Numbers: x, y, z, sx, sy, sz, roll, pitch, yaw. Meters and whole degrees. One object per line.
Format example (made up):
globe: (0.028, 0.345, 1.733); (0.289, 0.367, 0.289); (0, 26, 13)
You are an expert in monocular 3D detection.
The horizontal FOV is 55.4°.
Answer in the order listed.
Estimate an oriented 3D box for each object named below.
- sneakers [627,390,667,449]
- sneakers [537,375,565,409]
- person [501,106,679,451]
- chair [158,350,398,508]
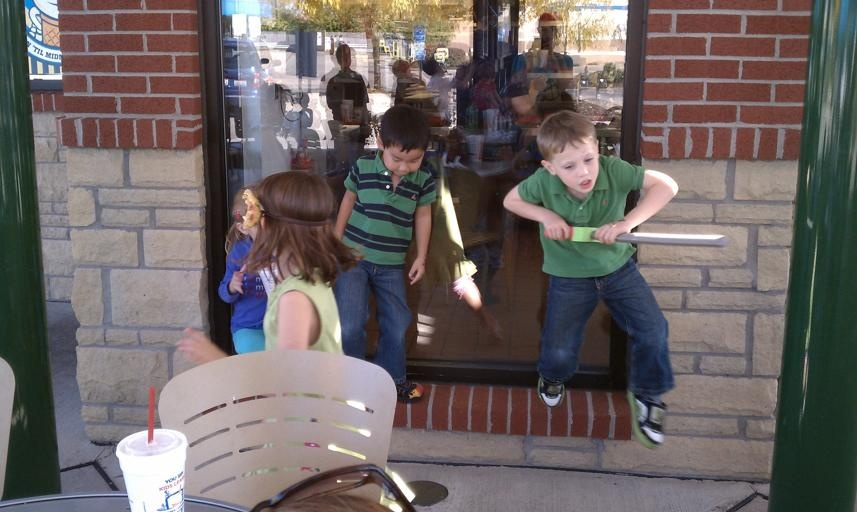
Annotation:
sneakers: (1.144, 0.844, 4.266); (0.163, 0.336, 0.142); (-19, -9, 32)
sneakers: (0.656, 0.727, 4.376); (0.110, 0.177, 0.086); (-7, 14, 27)
person: (0.829, 0.147, 4.120); (0.863, 1.711, 0.438); (1, 11, 5)
chair: (-0.506, 0.618, 3.381); (0.765, 0.930, 0.676); (4, -9, -8)
